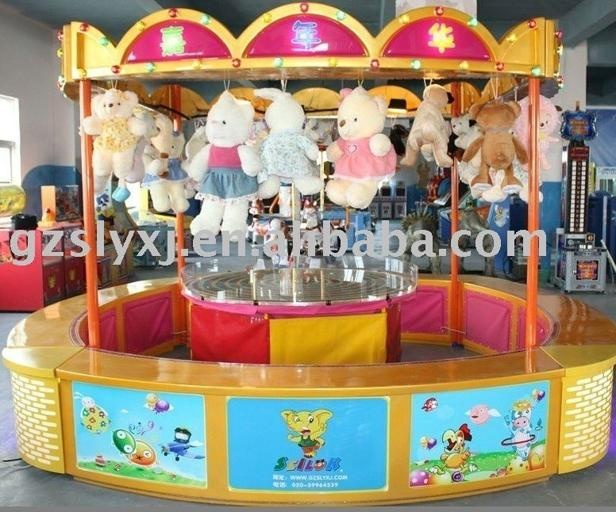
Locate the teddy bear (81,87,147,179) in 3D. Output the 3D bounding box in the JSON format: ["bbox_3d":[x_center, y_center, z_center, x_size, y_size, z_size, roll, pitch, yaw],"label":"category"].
[{"bbox_3d":[-1.234,-0.756,3.915,0.360,0.588,0.302,-2,0,-16],"label":"teddy bear"}]
